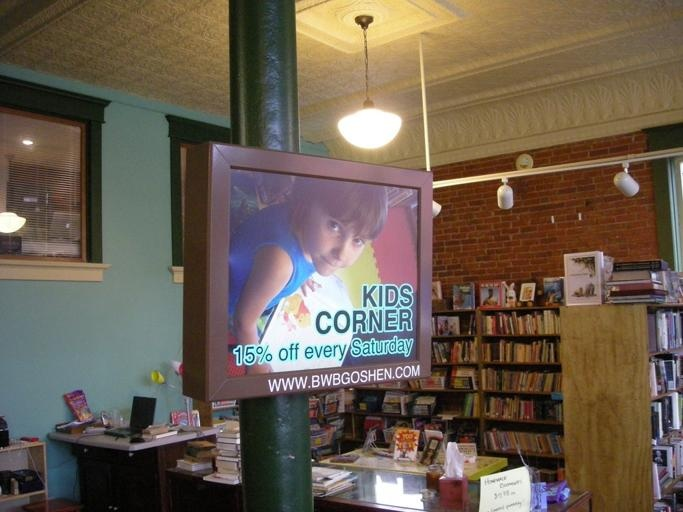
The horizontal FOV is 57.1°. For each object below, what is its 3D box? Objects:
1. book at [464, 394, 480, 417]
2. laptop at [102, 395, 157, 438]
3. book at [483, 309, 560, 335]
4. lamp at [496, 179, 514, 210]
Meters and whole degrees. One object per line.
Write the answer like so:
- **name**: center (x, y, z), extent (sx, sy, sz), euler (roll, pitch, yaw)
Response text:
- **book**: center (1.698, 1.937, 8.139), extent (0.159, 0.267, 0.276), euler (8, -6, 4)
- **laptop**: center (-2.135, 1.655, 6.393), extent (0.439, 0.358, 0.381), euler (-2, -11, 38)
- **book**: center (2.247, 0.845, 7.918), extent (0.990, 0.313, 0.172), euler (-9, -11, 38)
- **lamp**: center (1.688, -0.671, 6.471), extent (0.139, 0.312, 0.636), euler (-4, -9, 14)
